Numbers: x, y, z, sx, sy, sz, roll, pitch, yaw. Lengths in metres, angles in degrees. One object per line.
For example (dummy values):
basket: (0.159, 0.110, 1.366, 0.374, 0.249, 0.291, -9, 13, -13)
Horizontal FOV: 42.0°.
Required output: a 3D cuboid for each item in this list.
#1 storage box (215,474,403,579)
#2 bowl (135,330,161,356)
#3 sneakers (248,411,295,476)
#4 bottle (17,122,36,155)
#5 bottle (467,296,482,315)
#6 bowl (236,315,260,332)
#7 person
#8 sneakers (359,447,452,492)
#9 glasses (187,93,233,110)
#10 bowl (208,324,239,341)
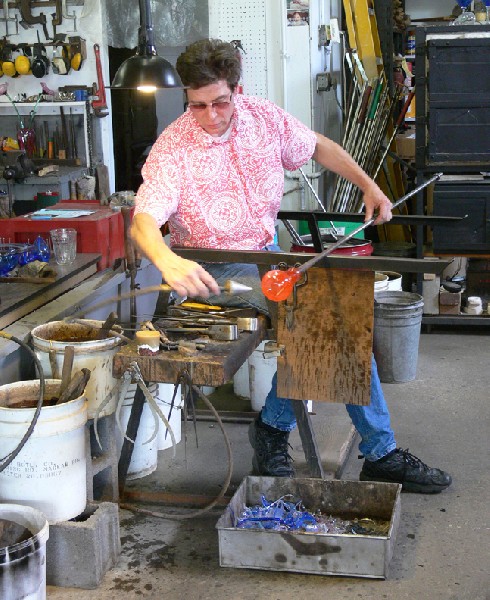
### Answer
storage box: (0.230, 0.769, 2.173, 0.573, 0.189, 0.387, 1, 10, 12)
bowl: (-0.303, 0.133, 1.995, 0.080, 0.052, 0.071, -4, 12, -17)
sneakers: (0.085, 0.591, 2.655, 0.127, 0.139, 0.307, -1, 51, -15)
bottle: (-2.010, -1.493, 5.913, 0.162, 0.294, 0.174, -2, 11, 0)
bottle: (1.737, 0.048, 4.812, 0.121, 0.119, 0.140, -3, 6, -16)
bowl: (0.015, 0.084, 2.172, 0.074, 0.047, 0.049, -2, 11, -1)
person: (0.058, -0.013, 2.315, 1.228, 1.723, 0.698, -11, 15, -39)
sneakers: (0.652, 0.689, 2.670, 0.458, 0.163, 0.148, 2, 14, 1)
glasses: (-0.109, -0.631, 2.059, 0.141, 0.052, 0.107, -2, 10, -2)
bowl: (-0.074, 0.102, 2.082, 0.105, 0.053, 0.045, 4, 12, 28)
